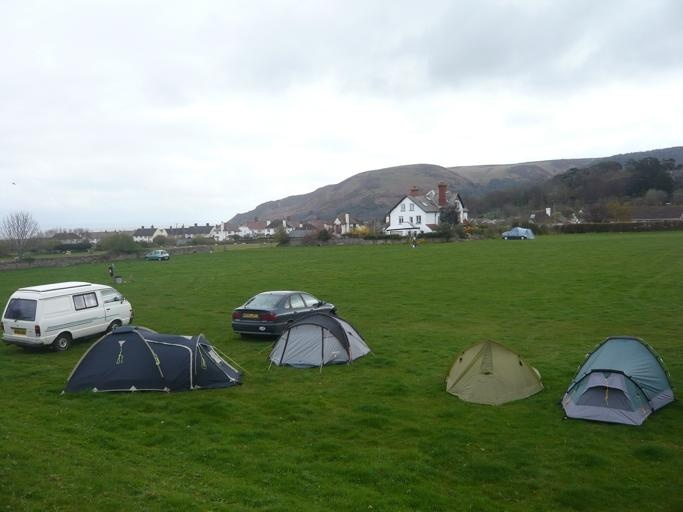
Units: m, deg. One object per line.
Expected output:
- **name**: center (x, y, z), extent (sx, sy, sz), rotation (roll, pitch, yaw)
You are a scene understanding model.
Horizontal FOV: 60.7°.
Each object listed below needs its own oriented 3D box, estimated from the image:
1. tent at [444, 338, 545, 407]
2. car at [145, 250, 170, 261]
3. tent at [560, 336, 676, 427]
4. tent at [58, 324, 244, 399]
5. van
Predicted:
- **tent**: center (4.752, 3.625, 18.555), extent (2.821, 1.746, 1.399), rotation (0, 7, 8)
- **car**: center (-23.696, -0.084, 74.467), extent (2.528, 1.224, 1.480), rotation (4, 4, 11)
- **tent**: center (8.606, 3.611, 17.848), extent (2.140, 1.247, 3.239), rotation (-3, 3, 33)
- **tent**: center (-6.089, 3.492, 19.117), extent (3.672, 1.235, 2.559), rotation (0, -1, -4)
- **van**: center (-10.926, 2.225, 24.117), extent (2.531, 2.468, 5.099), rotation (2, 6, 26)
